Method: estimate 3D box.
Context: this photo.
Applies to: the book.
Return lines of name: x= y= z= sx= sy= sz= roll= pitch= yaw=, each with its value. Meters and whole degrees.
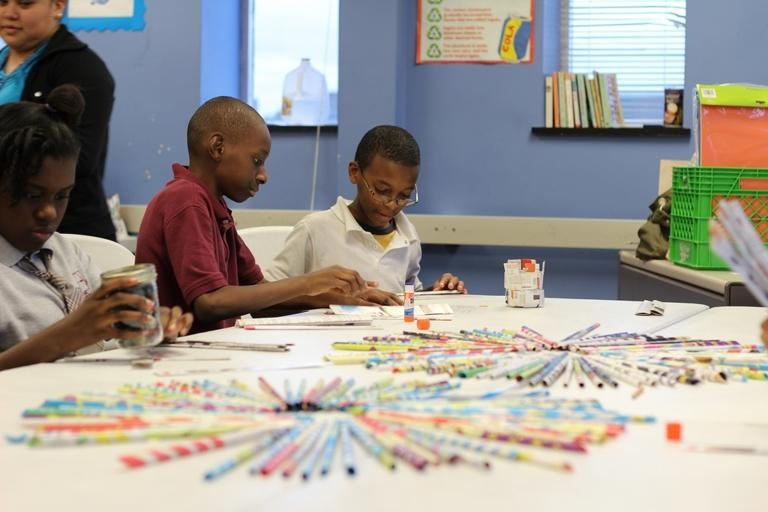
book: x=1.052 y=-0.807 z=3.357 sx=0.422 sy=0.273 sz=0.181 roll=2 pitch=14 yaw=8

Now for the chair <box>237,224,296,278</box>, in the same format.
chair: x=-0.418 y=-0.018 z=2.320 sx=0.174 sy=0.135 sz=0.166 roll=2 pitch=2 yaw=20

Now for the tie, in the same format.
tie: x=-0.752 y=0.057 z=1.460 sx=0.100 sy=0.150 sz=0.049 roll=-30 pitch=1 yaw=-39

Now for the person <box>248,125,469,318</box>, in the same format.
person: x=-0.072 y=0.009 z=2.255 sx=0.666 sy=0.919 sz=0.529 roll=0 pitch=9 yaw=-25

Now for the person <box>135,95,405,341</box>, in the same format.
person: x=-0.336 y=-0.116 z=2.176 sx=0.718 sy=1.199 sz=0.600 roll=-7 pitch=3 yaw=-9
